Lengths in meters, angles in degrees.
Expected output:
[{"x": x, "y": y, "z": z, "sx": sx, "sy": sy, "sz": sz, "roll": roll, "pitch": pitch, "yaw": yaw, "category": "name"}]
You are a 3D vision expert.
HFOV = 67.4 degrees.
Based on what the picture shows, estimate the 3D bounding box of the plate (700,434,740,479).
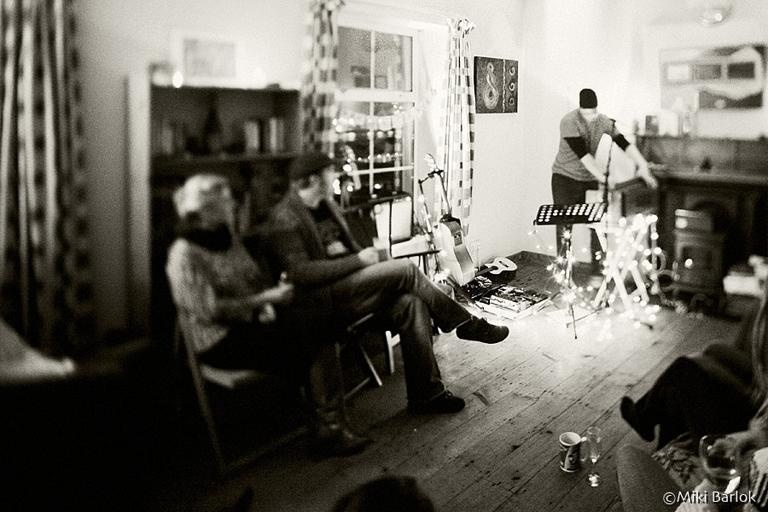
[{"x": 1.317, "y": 0.790, "z": 2.288, "sx": 0.132, "sy": 0.157, "sz": 0.135, "roll": -3, "pitch": -8, "yaw": 0, "category": "plate"}]

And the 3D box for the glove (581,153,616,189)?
[{"x": 1.862, "y": -0.732, "z": 4.980, "sx": 0.048, "sy": 0.375, "sz": 0.150, "roll": -24, "pitch": 47, "yaw": -22, "category": "glove"}]

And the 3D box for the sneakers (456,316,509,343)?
[{"x": 0.629, "y": 0.502, "z": 3.770, "sx": 0.398, "sy": 0.175, "sz": 0.157, "roll": -4, "pitch": 31, "yaw": -9, "category": "sneakers"}]

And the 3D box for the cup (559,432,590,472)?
[{"x": 1.053, "y": 1.059, "z": 3.157, "sx": 0.229, "sy": 0.178, "sz": 0.119, "roll": -10, "pitch": 15, "yaw": -28, "category": "cup"}]

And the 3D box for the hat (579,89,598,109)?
[{"x": 1.787, "y": -1.371, "z": 5.069, "sx": 0.147, "sy": 0.157, "sz": 0.160, "roll": -9, "pitch": 8, "yaw": -26, "category": "hat"}]

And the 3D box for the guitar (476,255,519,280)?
[{"x": 1.019, "y": 0.087, "z": 4.959, "sx": 0.365, "sy": 0.051, "sz": 0.161, "roll": -14, "pitch": 28, "yaw": -39, "category": "guitar"}]

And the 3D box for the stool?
[{"x": -0.235, "y": 0.639, "z": 3.765, "sx": 0.439, "sy": 0.580, "sz": 0.599, "roll": -10, "pitch": 11, "yaw": 1, "category": "stool"}]

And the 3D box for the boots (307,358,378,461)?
[{"x": -0.292, "y": 0.902, "z": 3.378, "sx": 0.315, "sy": 0.496, "sz": 0.372, "roll": -10, "pitch": 15, "yaw": -29, "category": "boots"}]

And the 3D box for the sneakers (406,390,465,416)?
[{"x": 0.321, "y": 0.910, "z": 3.583, "sx": 0.376, "sy": 0.170, "sz": 0.141, "roll": -3, "pitch": 7, "yaw": -2, "category": "sneakers"}]

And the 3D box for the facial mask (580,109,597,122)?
[{"x": 1.794, "y": -1.233, "z": 5.085, "sx": 0.084, "sy": 0.116, "sz": 0.117, "roll": -13, "pitch": 0, "yaw": 1, "category": "facial mask"}]
